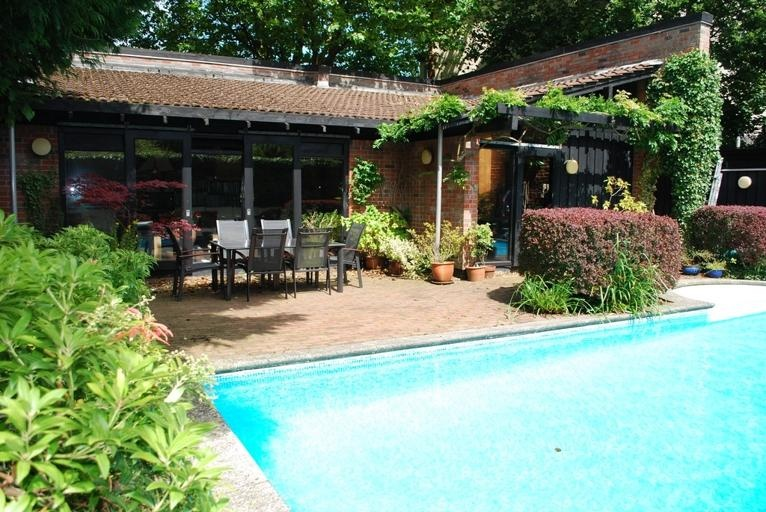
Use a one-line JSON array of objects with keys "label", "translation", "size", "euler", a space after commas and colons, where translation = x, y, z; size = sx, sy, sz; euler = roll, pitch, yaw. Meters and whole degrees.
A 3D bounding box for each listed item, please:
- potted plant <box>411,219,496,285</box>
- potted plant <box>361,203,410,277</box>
[{"label": "potted plant", "translation": [1.403, -0.161, 12.086], "size": [1.596, 1.012, 1.265], "euler": [-1, 4, -19]}, {"label": "potted plant", "translation": [0.057, -0.511, 12.820], "size": [1.195, 1.111, 1.224], "euler": [5, 10, 26]}]
